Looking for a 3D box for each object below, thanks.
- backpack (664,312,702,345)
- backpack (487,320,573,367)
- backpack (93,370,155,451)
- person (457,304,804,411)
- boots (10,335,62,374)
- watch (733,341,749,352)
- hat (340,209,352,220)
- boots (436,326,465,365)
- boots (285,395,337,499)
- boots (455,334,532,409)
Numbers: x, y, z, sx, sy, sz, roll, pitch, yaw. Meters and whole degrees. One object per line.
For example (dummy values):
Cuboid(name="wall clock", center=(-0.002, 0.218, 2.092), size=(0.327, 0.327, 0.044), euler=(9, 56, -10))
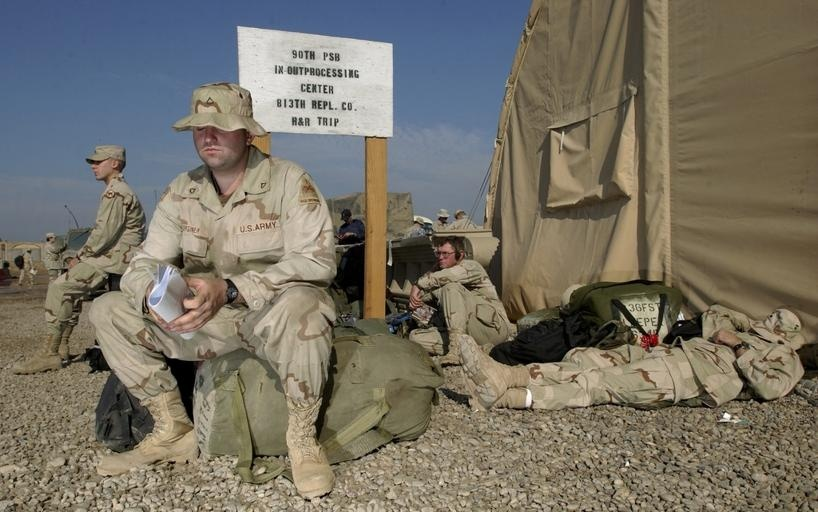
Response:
Cuboid(name="backpack", center=(2.816, 0.764, 6.420), size=(0.339, 0.137, 0.348), euler=(-23, 3, 34))
Cuboid(name="backpack", center=(1.293, 0.921, 6.508), size=(0.587, 0.253, 0.491), euler=(-8, 3, 12))
Cuboid(name="backpack", center=(-2.404, 1.302, 5.337), size=(0.466, 0.608, 0.252), euler=(-6, -7, 16))
Cuboid(name="person", center=(2.310, 1.032, 6.023), size=(2.581, 0.714, 1.256), euler=(-5, 3, -6))
Cuboid(name="boots", center=(-4.188, 1.154, 7.181), size=(0.586, 0.551, 0.277), euler=(5, 0, -22))
Cuboid(name="watch", center=(3.101, 0.844, 5.853), size=(0.114, 0.077, 0.115), euler=(23, -35, -35))
Cuboid(name="hat", center=(-1.393, -0.935, 14.110), size=(0.251, 0.158, 0.336), euler=(-4, 10, -14))
Cuboid(name="boots", center=(0.515, 1.019, 7.161), size=(0.414, 0.418, 0.213), euler=(-12, -7, 44))
Cuboid(name="boots", center=(-0.762, 1.459, 4.799), size=(0.359, 0.685, 0.329), euler=(-2, 11, -5))
Cuboid(name="boots", center=(0.841, 0.981, 5.690), size=(0.289, 0.423, 0.707), euler=(35, -34, -22))
